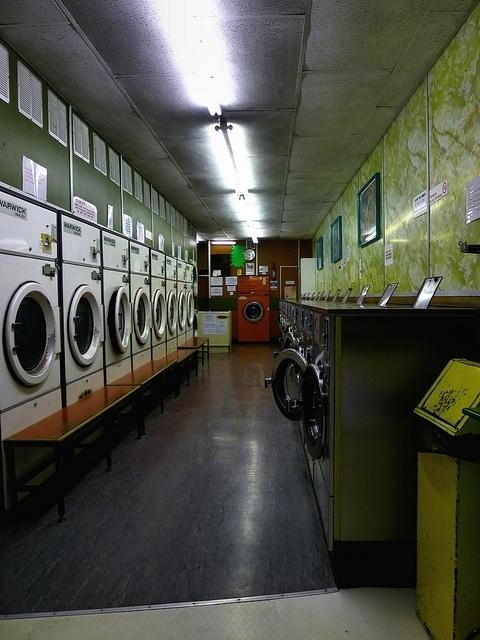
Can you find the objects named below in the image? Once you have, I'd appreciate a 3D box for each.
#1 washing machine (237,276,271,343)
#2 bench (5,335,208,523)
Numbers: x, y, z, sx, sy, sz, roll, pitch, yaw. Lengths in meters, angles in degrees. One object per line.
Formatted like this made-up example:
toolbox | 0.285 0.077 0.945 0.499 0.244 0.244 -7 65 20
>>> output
washing machine | 0.375 -0.263 11.896 0.610 2.092 0.745 1 3 1
bench | -0.830 0.799 2.695 0.364 0.668 1.841 0 3 4
